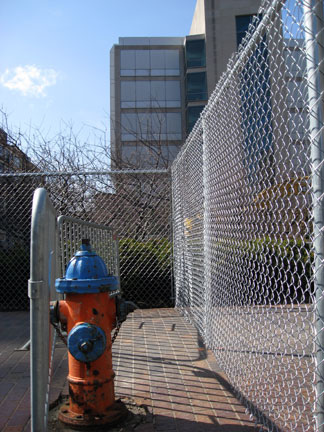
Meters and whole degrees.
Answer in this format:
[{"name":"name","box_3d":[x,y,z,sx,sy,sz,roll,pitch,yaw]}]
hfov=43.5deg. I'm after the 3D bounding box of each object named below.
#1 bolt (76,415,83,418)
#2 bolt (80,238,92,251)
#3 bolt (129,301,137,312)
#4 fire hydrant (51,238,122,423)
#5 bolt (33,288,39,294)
[{"name":"bolt","box_3d":[-0.444,1.074,2.189,0.030,0.004,0.026,-1,0,-3]},{"name":"bolt","box_3d":[-0.453,0.172,2.426,0.056,0.084,0.064,2,-7,-6]},{"name":"bolt","box_3d":[-0.171,0.538,2.404,0.039,0.055,0.013,16,-16,-18]},{"name":"fire hydrant","box_3d":[-0.423,0.630,2.302,0.394,0.956,0.311,0,0,-9]},{"name":"bolt","box_3d":[-0.484,0.286,1.562,0.015,0.020,0.004,-13,0,-4]}]
